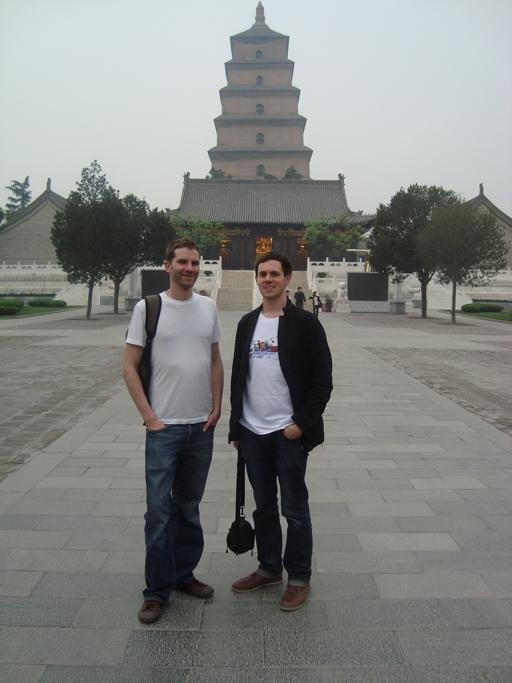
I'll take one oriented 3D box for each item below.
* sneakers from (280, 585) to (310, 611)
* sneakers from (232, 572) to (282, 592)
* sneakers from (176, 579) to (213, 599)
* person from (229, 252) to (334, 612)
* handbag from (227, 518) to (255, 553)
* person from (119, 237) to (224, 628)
[{"bbox_3d":[0.163,1.100,2.367,0.083,0.070,0.134,2,4,25],"label":"sneakers"},{"bbox_3d":[0.001,1.102,2.576,0.235,0.091,0.081,3,-8,-21],"label":"sneakers"},{"bbox_3d":[-0.279,1.102,2.490,0.167,0.068,0.063,-7,-6,36],"label":"sneakers"},{"bbox_3d":[0.073,0.369,2.558,0.503,1.558,0.393,3,4,37],"label":"person"},{"bbox_3d":[-0.053,0.901,2.591,0.102,0.168,0.164,4,12,4],"label":"handbag"},{"bbox_3d":[-0.339,0.337,2.499,0.591,1.606,0.455,-2,4,-37],"label":"person"}]
